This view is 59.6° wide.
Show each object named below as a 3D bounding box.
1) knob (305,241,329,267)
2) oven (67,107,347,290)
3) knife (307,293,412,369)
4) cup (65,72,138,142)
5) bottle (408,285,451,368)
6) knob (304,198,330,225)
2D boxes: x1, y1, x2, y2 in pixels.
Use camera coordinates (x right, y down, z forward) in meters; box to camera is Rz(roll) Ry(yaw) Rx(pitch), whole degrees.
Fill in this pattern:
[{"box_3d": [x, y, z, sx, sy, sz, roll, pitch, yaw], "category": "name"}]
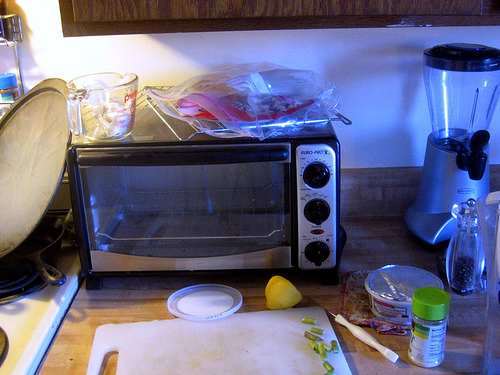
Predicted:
[{"box_3d": [0.172, 0.171, 1.115, 0.059, 0.064, 0.019, 1, 24, 7], "category": "knob"}, {"box_3d": [-0.129, -0.061, 1.321, 0.633, 0.451, 0.538, -1, 18, -1], "category": "oven"}, {"box_3d": [0.235, 0.311, 1.107, 0.059, 0.045, 0.391, -31, 39, -19], "category": "knife"}, {"box_3d": [-0.374, -0.229, 1.167, 0.178, 0.157, 0.215, 9, 21, 18], "category": "cup"}, {"box_3d": [0.390, 0.301, 0.947, 0.081, 0.162, 0.091, 9, 26, 23], "category": "bottle"}, {"box_3d": [0.162, 0.060, 1.092, 0.055, 0.066, 0.021, -16, 29, 1], "category": "knob"}]
